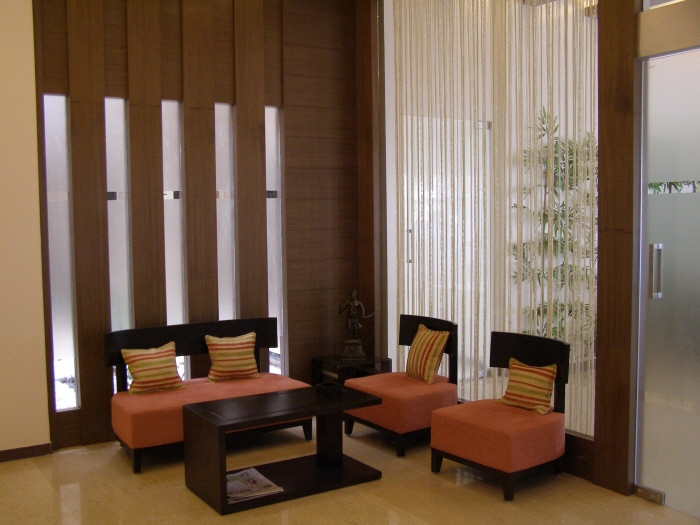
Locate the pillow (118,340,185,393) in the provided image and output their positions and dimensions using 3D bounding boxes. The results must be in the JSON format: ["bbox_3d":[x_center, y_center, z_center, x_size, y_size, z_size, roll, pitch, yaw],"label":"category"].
[{"bbox_3d":[-1.784,0.958,5.744,0.476,0.424,0.238,-4,-4,-35],"label":"pillow"}]

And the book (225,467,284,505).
[{"bbox_3d":[-0.732,1.727,4.905,0.275,0.043,0.292,1,1,-30],"label":"book"}]

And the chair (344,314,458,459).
[{"bbox_3d":[0.533,1.115,6.052,0.858,1.161,0.916,3,-1,-38],"label":"chair"}]

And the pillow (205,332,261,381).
[{"bbox_3d":[-1.153,0.902,6.145,0.404,0.379,0.166,1,-27,-27],"label":"pillow"}]

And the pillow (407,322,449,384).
[{"bbox_3d":[0.722,0.839,5.997,0.235,0.457,0.473,0,3,-28],"label":"pillow"}]

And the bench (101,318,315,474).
[{"bbox_3d":[-1.304,1.185,5.988,1.824,1.168,0.906,0,0,-36],"label":"bench"}]

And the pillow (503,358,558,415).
[{"bbox_3d":[1.443,0.997,5.128,0.404,0.399,0.156,8,-10,40],"label":"pillow"}]

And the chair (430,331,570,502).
[{"bbox_3d":[1.285,1.143,5.410,1.149,1.466,1.058,0,1,-39],"label":"chair"}]
